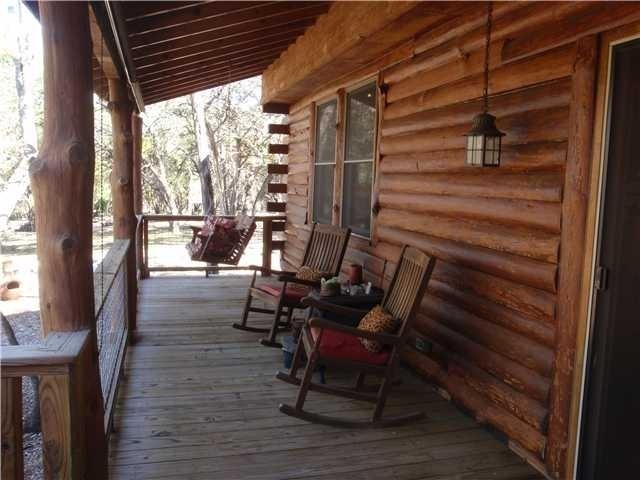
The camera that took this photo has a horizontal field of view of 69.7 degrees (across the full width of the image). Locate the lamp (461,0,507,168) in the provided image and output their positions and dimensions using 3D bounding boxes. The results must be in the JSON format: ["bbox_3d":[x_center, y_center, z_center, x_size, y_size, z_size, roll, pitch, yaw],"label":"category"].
[{"bbox_3d":[1.145,-1.043,3.058,0.234,1.104,0.513,6,10,21],"label":"lamp"}]

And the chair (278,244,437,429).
[{"bbox_3d":[0.224,0.670,3.521,1.082,1.240,0.944,1,9,-5],"label":"chair"}]

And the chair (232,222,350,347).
[{"bbox_3d":[-0.264,0.449,4.980,1.049,1.213,0.948,-1,7,-42],"label":"chair"}]
